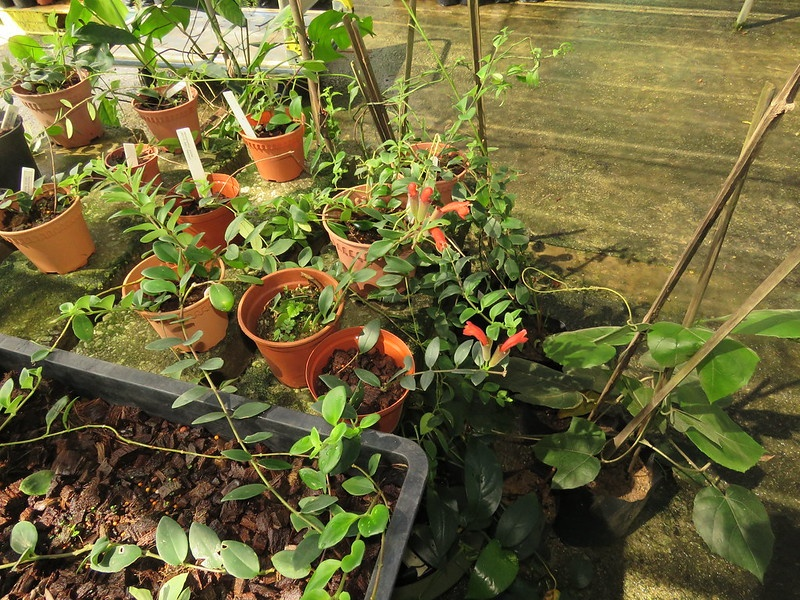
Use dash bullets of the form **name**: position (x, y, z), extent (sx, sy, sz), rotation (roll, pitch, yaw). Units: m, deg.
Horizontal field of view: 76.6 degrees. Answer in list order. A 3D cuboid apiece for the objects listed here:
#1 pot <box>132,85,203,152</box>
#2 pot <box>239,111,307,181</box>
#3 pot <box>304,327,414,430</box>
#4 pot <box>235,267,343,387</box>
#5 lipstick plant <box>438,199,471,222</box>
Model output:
- **pot**: position (-1.289, -1.037, 2.920), extent (0.349, 0.278, 0.303), rotation (-23, 49, -16)
- **pot**: position (-0.647, -0.810, 2.754), extent (0.325, 0.238, 0.316), rotation (-7, 35, 5)
- **pot**: position (-0.145, 0.316, 1.947), extent (0.411, 0.262, 0.372), rotation (5, 56, 4)
- **pot**: position (-0.371, 0.075, 2.091), extent (0.491, 0.372, 0.461), rotation (0, 49, 0)
- **lipstick plant**: position (0.190, -0.327, 1.808), extent (0.128, 0.080, 0.052), rotation (12, 90, 22)
